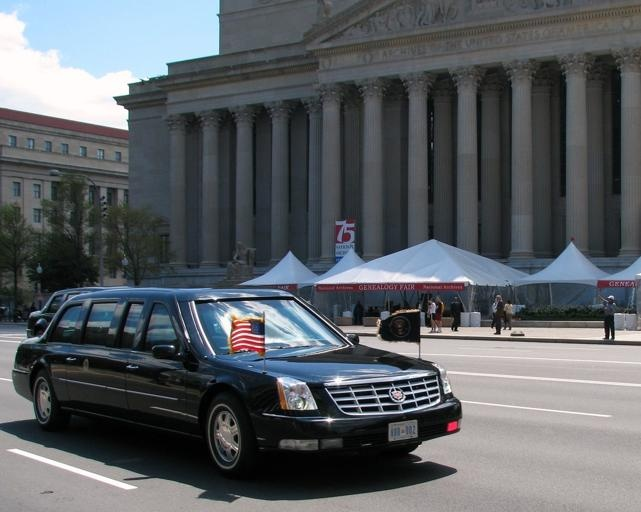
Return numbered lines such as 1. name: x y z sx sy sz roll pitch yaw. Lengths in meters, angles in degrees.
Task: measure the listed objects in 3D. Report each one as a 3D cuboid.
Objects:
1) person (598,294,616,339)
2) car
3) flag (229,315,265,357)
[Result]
1. person: 9.399 2.086 32.252 0.324 0.995 0.968 4 3 12
2. car: -1.636 1.604 13.861 7.041 2.347 2.535 5 3 42
3. flag: -0.925 1.041 12.516 0.579 0.569 0.050 0 -2 22
